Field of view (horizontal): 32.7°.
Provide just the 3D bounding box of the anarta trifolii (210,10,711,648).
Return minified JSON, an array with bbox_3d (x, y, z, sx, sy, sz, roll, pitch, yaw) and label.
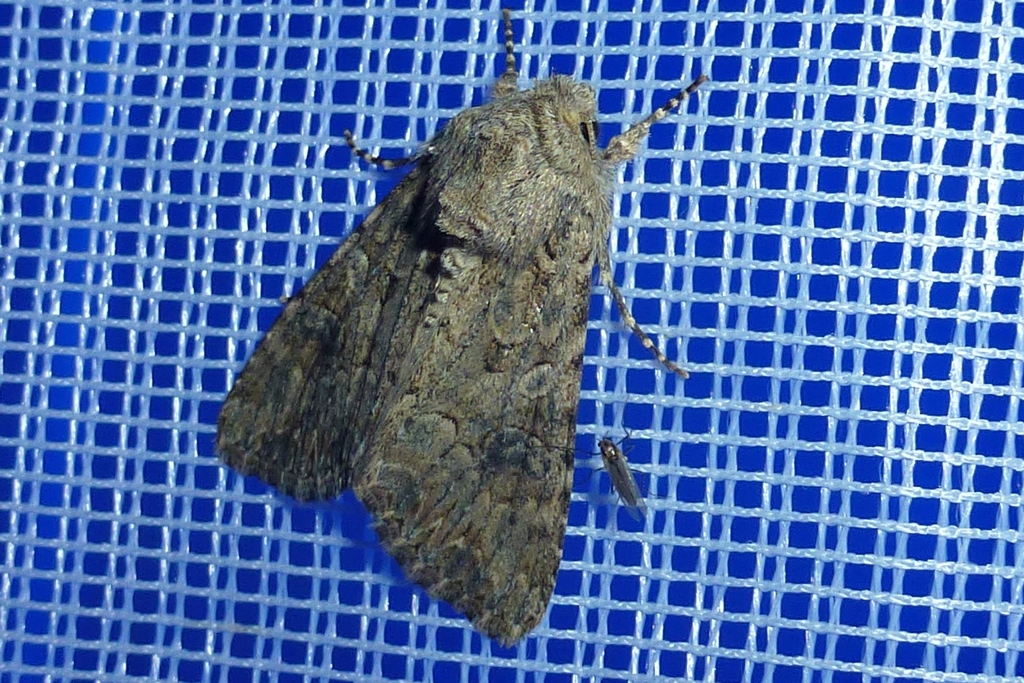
[{"bbox_3d":[-0.223,-0.051,7.898,1.785,0.723,2.470,25,98,9],"label":"anarta trifolii"}]
